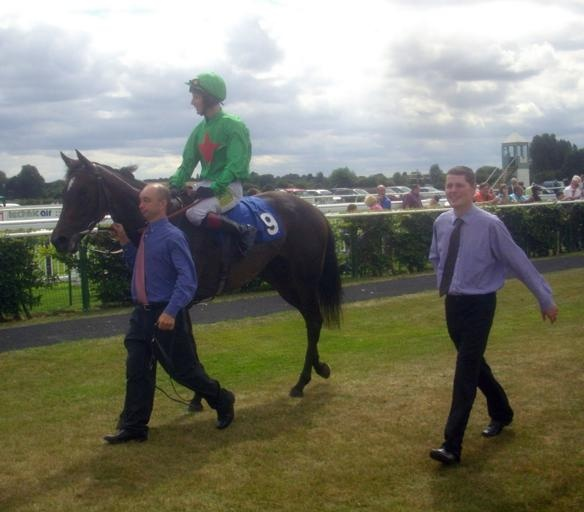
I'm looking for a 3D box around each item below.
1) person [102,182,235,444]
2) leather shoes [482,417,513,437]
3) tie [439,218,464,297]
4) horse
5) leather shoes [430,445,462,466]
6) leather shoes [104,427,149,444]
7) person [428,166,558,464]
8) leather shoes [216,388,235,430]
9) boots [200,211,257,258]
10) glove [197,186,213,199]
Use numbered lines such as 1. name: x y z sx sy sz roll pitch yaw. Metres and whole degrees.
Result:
1. person: -0.866 0.383 4.289 0.767 1.728 0.421 -2 6 4
2. leather shoes: 1.406 1.161 4.328 0.244 0.100 0.088 -9 10 -27
3. tie: 1.027 0.004 4.098 0.099 0.659 0.031 9 -5 26
4. horse: -0.635 0.235 5.332 2.759 1.931 0.688 1 -5 -39
5. leather shoes: 0.922 1.212 3.830 0.239 0.085 0.107 20 14 -30
6. leather shoes: -1.097 1.203 4.224 0.318 0.138 0.104 3 4 -15
7. person: 1.273 0.333 4.056 0.768 1.822 0.750 -1 6 11
8. leather shoes: -0.457 1.081 4.521 0.134 0.275 0.109 5 -1 -34
9. boots: -0.476 -0.206 5.089 0.436 0.179 0.248 26 -39 -9
10. glove: -0.689 -0.507 5.038 0.105 0.075 0.099 0 -1 -3
